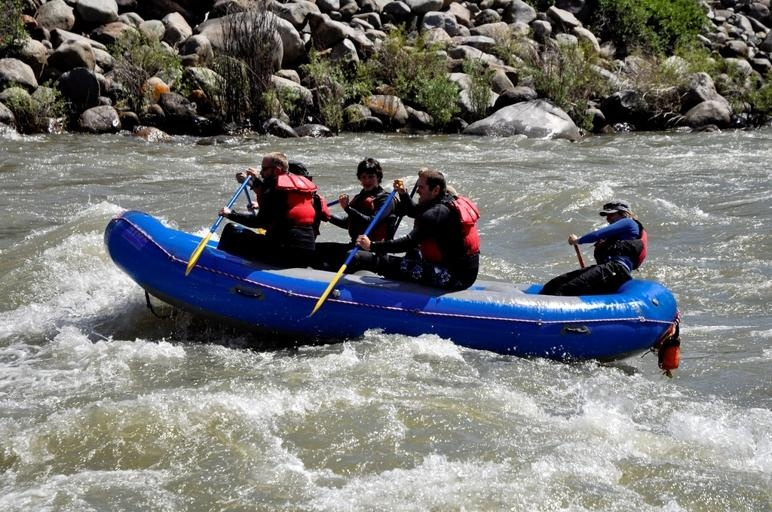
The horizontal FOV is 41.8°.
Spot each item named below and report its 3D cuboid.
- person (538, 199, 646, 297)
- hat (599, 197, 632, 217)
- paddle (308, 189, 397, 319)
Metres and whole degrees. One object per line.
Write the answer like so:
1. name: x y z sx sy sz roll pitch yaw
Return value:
1. person: 2.891 0.108 14.293 1.540 1.794 0.846 1 -11 17
2. hat: 3.242 -0.703 14.237 0.416 0.177 0.272 6 -4 -6
3. paddle: -0.435 0.015 13.881 2.502 0.124 0.267 -47 35 -20
